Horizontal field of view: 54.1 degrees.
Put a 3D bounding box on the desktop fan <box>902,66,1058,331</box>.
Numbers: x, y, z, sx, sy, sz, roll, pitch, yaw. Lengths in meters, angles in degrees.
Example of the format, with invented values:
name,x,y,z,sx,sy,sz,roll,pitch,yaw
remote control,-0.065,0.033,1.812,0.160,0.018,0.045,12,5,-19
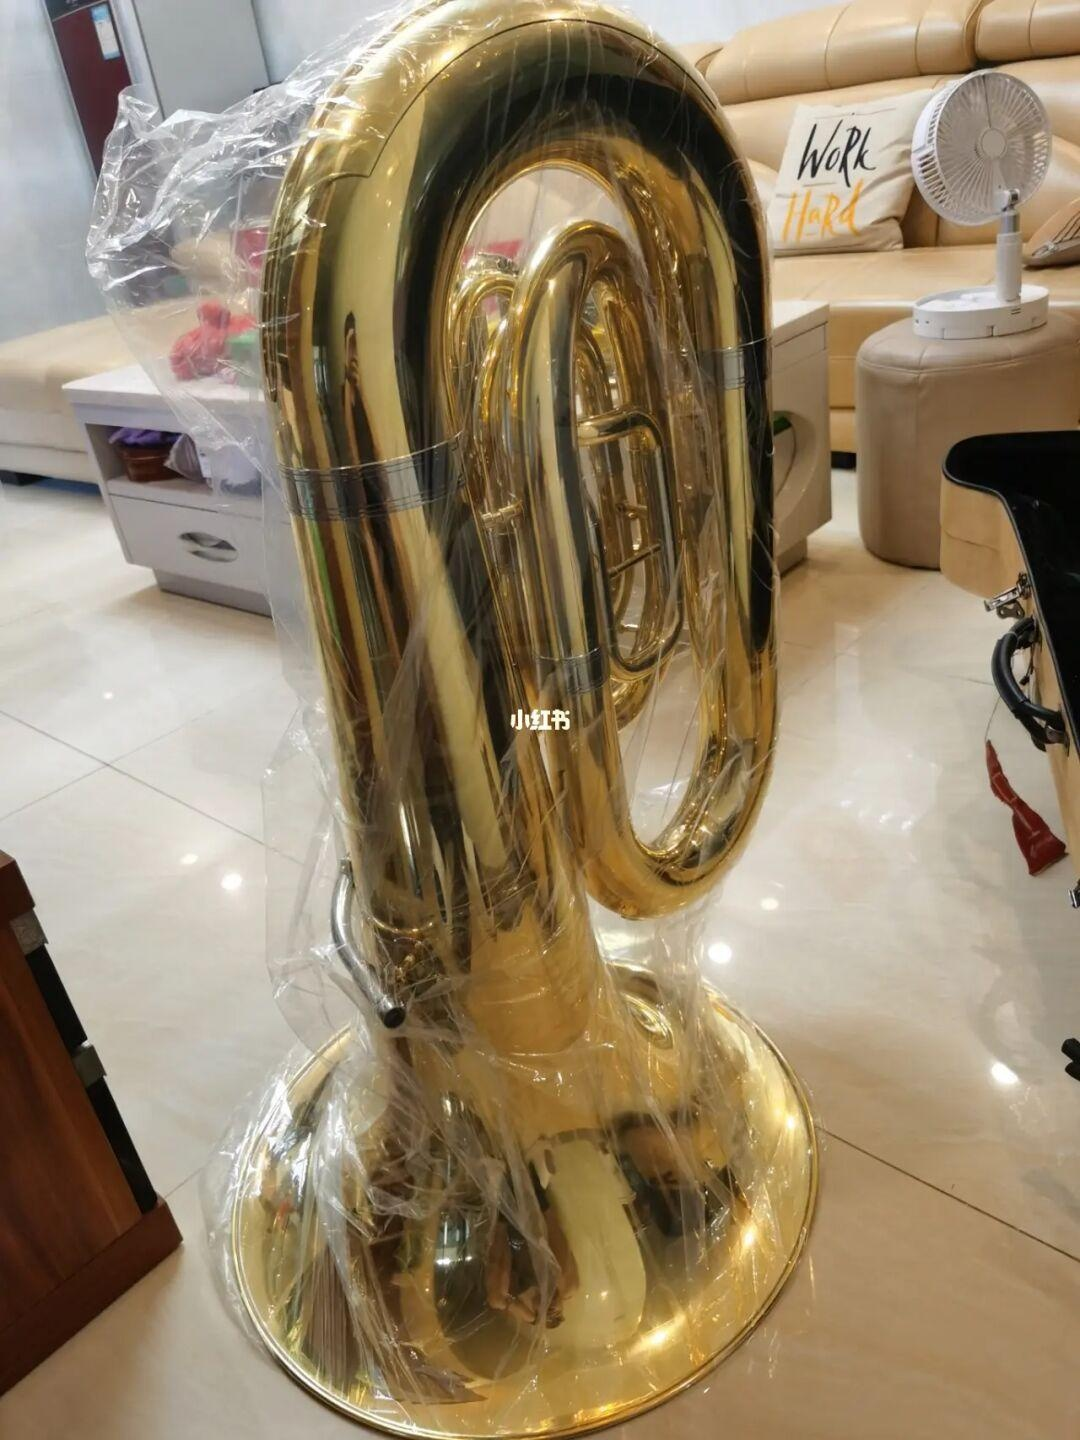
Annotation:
name,x,y,z,sx,sy,sz,roll,pitch,yaw
desktop fan,0.754,-0.875,1.804,0.253,0.412,0.147,-20,30,-16
